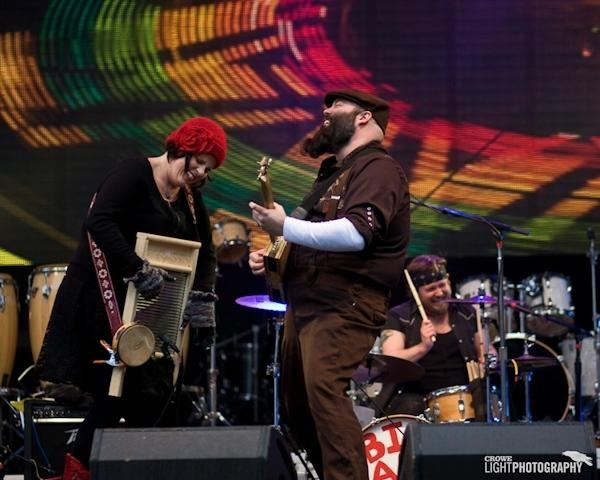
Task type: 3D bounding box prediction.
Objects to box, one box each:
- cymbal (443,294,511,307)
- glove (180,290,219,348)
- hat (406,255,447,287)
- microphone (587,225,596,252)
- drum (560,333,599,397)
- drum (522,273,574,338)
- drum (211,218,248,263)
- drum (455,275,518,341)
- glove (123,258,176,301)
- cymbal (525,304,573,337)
[{"bbox_3d":[1.679,0.564,8.783,0.591,0.150,0.775,1,-8,3],"label":"cymbal"},{"bbox_3d":[-0.808,0.596,7.022,0.369,0.354,0.141,16,-19,-25],"label":"glove"},{"bbox_3d":[1.217,0.297,9.036,0.387,0.243,0.308,-17,-5,24],"label":"hat"},{"bbox_3d":[2.872,-0.009,9.175,0.092,0.280,0.094,-5,14,12],"label":"microphone"},{"bbox_3d":[2.860,1.295,9.542,0.347,0.620,0.559,0,-9,14],"label":"drum"},{"bbox_3d":[2.614,0.695,9.629,0.731,0.554,0.666,1,-22,1],"label":"drum"},{"bbox_3d":[-0.699,0.036,9.611,0.533,0.299,0.455,-4,-24,-2],"label":"drum"},{"bbox_3d":[1.800,0.664,9.407,0.777,0.587,0.709,-5,1,0],"label":"drum"},{"bbox_3d":[-1.029,0.276,6.455,0.351,0.266,0.154,9,-11,-42],"label":"glove"},{"bbox_3d":[2.549,0.873,9.637,0.503,0.148,0.442,-2,-19,13],"label":"cymbal"}]
